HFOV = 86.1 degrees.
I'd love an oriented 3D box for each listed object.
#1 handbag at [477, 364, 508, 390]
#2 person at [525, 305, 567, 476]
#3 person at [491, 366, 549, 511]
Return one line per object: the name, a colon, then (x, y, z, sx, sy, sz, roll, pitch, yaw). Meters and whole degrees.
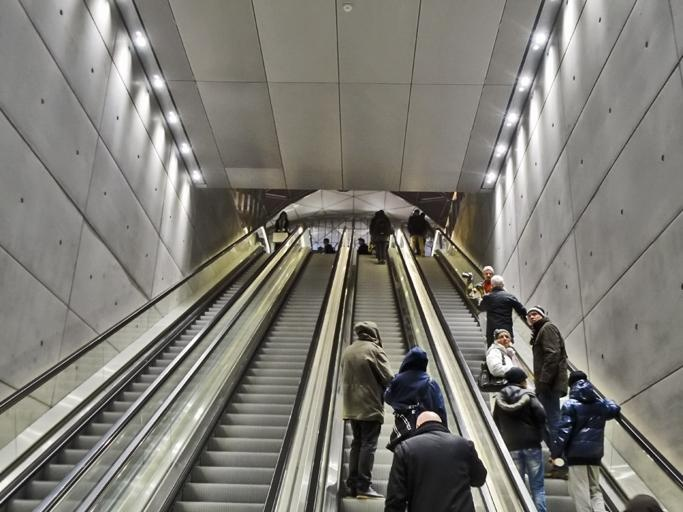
handbag: (1.713, 1.409, 4.159, 0.253, 0.277, 0.200, 0, -18, -1)
person: (2.057, 1.393, 3.661, 0.406, 1.495, 0.542, 1, -51, 22)
person: (1.550, 1.581, 3.035, 0.343, 0.840, 0.568, -5, -50, 6)
